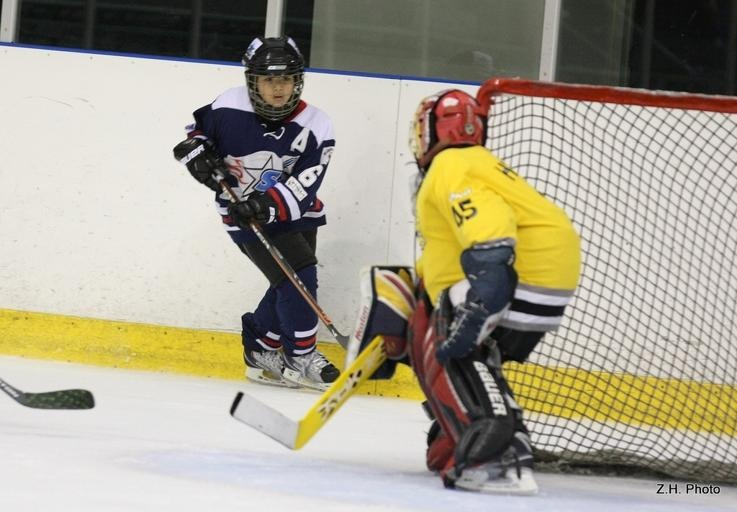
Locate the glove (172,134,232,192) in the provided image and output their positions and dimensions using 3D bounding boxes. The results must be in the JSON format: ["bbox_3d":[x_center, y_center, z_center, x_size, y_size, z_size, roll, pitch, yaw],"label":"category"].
[{"bbox_3d":[-0.852,-0.481,4.768,0.323,0.187,0.128,41,49,-10],"label":"glove"}]

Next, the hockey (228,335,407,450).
[{"bbox_3d":[-0.190,0.491,3.790,0.365,0.189,0.655,29,30,13],"label":"hockey"}]

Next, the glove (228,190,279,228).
[{"bbox_3d":[-0.573,-0.238,4.708,0.215,0.156,0.097,-11,-29,4],"label":"glove"}]

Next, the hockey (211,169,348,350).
[{"bbox_3d":[-0.475,0.034,4.981,1.142,0.127,0.165,52,1,2],"label":"hockey"}]

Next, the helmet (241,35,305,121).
[{"bbox_3d":[-0.474,-0.898,4.773,0.333,0.390,0.396,-2,38,-4],"label":"helmet"}]

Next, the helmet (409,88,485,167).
[{"bbox_3d":[0.320,-0.536,4.033,0.338,0.308,0.272,2,-11,10],"label":"helmet"}]
